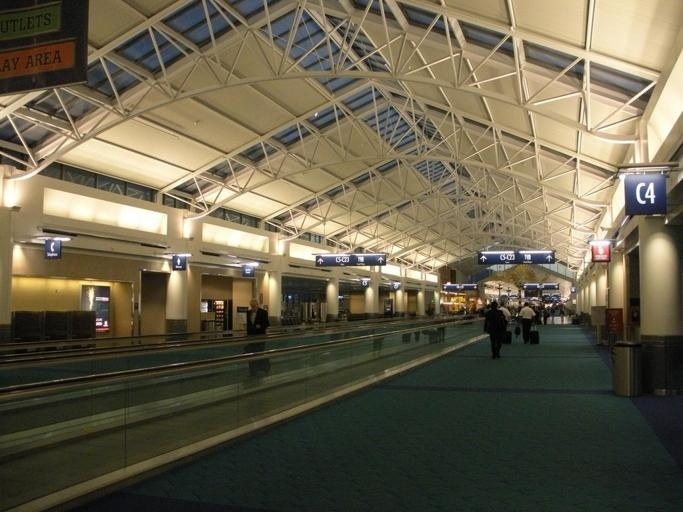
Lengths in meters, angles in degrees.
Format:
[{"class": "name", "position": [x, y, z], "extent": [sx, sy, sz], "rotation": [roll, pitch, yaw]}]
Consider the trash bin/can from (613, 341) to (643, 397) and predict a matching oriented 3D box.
[{"class": "trash bin/can", "position": [6.286, 2.460, 11.164], "extent": [0.560, 1.133, 0.689], "rotation": [2, -5, 27]}]
